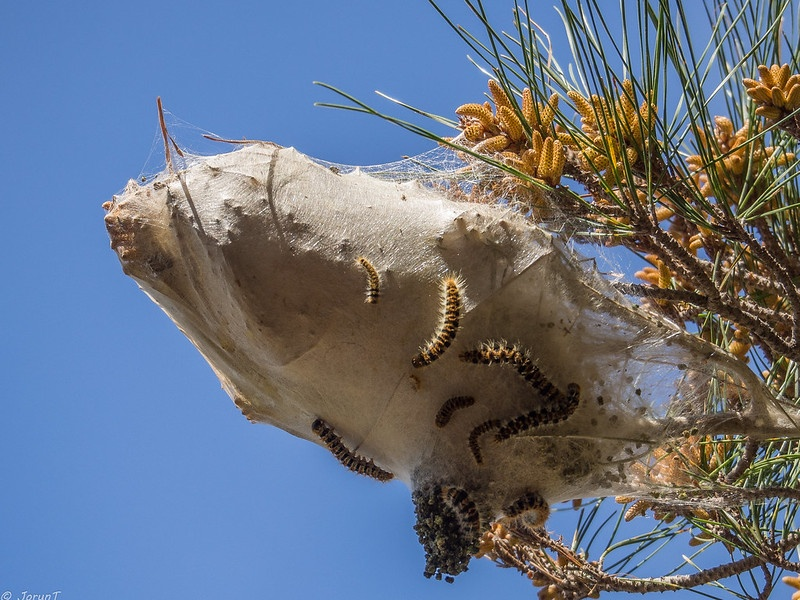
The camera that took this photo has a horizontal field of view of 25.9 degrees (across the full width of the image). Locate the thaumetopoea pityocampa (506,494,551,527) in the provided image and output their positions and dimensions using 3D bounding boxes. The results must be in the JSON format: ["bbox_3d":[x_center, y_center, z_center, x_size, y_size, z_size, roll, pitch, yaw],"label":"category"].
[{"bbox_3d":[0.663,1.107,9.011,0.177,0.100,0.177,14,-57,-15],"label":"thaumetopoea pityocampa"}]

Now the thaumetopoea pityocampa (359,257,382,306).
[{"bbox_3d":[-0.151,-0.090,8.968,0.084,0.267,0.086,-2,-1,3],"label":"thaumetopoea pityocampa"}]

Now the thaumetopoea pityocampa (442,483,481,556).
[{"bbox_3d":[0.337,1.127,8.948,0.078,0.327,0.190,-11,-26,-41],"label":"thaumetopoea pityocampa"}]

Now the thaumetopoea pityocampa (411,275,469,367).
[{"bbox_3d":[0.239,0.120,8.956,0.192,0.540,0.193,18,-7,42],"label":"thaumetopoea pityocampa"}]

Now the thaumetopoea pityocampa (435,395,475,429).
[{"bbox_3d":[0.280,0.571,8.992,0.225,0.117,0.057,-45,-2,0],"label":"thaumetopoea pityocampa"}]
